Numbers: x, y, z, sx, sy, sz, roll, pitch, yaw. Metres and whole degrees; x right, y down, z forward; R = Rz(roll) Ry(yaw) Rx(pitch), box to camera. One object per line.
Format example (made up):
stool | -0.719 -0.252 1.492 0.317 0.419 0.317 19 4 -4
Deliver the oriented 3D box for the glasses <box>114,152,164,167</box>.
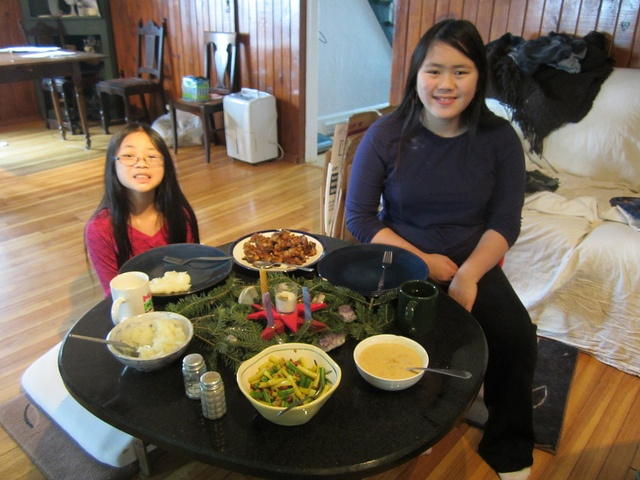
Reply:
glasses | -0.700 -0.307 1.801 0.172 0.055 0.046 -9 28 -17

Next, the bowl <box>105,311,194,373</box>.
bowl | -0.446 0.278 1.295 0.179 0.063 0.167 -1 40 1

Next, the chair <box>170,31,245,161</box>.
chair | -1.212 -1.550 4.971 0.684 1.228 0.769 18 32 32

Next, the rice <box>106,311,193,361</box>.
rice | -0.472 0.276 1.289 0.118 0.041 0.111 22 54 -11

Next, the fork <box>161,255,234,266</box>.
fork | -0.441 0.075 1.680 0.241 0.025 0.033 1 9 4

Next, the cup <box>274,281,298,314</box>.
cup | -0.103 0.172 1.389 0.083 0.087 0.079 -1 41 0

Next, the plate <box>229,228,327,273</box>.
plate | -0.154 0.045 1.736 0.216 0.034 0.207 -14 35 -25

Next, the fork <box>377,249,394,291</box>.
fork | 0.231 0.091 1.643 0.034 0.026 0.224 5 54 22

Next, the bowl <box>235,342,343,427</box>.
bowl | -0.076 0.374 1.177 0.230 0.133 0.203 -18 31 -31

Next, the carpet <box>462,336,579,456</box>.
carpet | 0.951 0.699 2.139 0.378 0.027 0.530 9 30 31

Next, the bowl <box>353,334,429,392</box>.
bowl | 0.196 0.337 1.276 0.154 0.061 0.145 -1 35 1

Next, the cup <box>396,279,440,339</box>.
cup | 0.301 0.196 1.424 0.115 0.123 0.173 8 30 23

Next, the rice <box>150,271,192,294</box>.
rice | -0.488 0.143 1.521 0.085 0.026 0.082 -4 17 -13
